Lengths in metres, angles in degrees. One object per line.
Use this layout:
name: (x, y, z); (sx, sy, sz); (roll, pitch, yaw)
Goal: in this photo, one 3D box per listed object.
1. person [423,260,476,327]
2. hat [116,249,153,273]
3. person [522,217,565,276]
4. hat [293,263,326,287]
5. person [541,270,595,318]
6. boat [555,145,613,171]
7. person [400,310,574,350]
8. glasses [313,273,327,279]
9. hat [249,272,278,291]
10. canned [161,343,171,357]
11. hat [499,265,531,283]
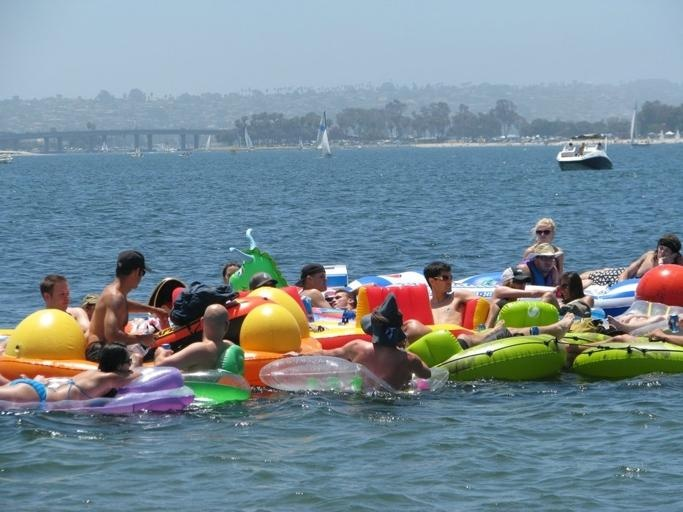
person: (1.692, 0.617, 17.007); (0.955, 0.326, 1.056); (-14, 48, -9)
hat: (-2.805, 0.072, 14.449); (0.482, 0.233, 0.328); (-6, 14, -43)
person: (3.418, 0.023, 18.387); (0.755, 1.256, 0.497); (5, -15, 0)
hat: (-0.520, 0.323, 17.554); (0.469, 0.291, 0.339); (-9, 11, -10)
person: (3.355, 0.555, 15.919); (0.668, 0.586, 0.845); (-4, 10, -29)
boat: (17.546, -7.154, 78.169); (3.145, 1.622, 4.614); (-2, 5, -1)
person: (2.091, 1.142, 15.270); (2.365, 0.435, 0.830); (-4, 6, 9)
glasses: (-0.366, 0.329, 17.466); (0.146, 0.086, 0.111); (-7, 11, -5)
hat: (-1.218, 0.388, 16.351); (0.364, 0.155, 0.275); (-7, -3, 35)
canned: (-2.372, 1.261, 14.422); (0.166, 0.186, 0.128); (-2, 7, -10)
hat: (2.602, 0.268, 16.111); (0.427, 0.164, 0.278); (-4, 2, 5)
